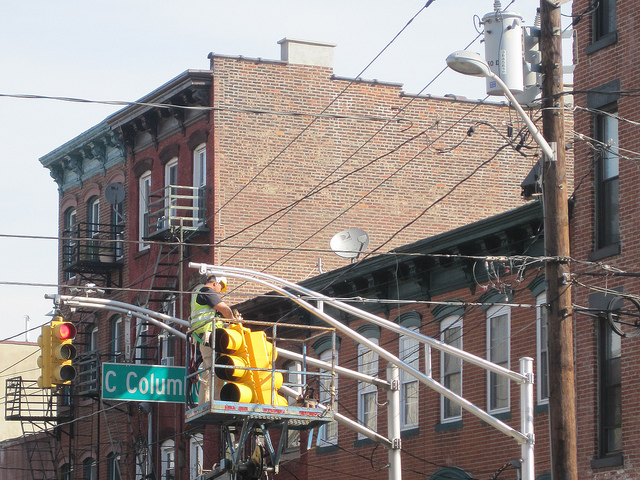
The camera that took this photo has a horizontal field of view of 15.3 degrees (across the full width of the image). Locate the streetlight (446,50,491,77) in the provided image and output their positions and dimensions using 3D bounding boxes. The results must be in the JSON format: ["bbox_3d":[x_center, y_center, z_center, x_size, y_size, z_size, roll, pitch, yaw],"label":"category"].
[{"bbox_3d":[3.552,-4.151,55.126,1.225,0.571,0.643,5,-18,-29],"label":"streetlight"}]

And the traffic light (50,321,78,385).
[{"bbox_3d":[-6.498,2.931,61.450,0.719,1.689,0.671,-8,-16,10],"label":"traffic light"}]

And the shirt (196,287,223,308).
[{"bbox_3d":[-2.684,1.461,59.745,0.475,0.548,0.817,-13,12,-39],"label":"shirt"}]
